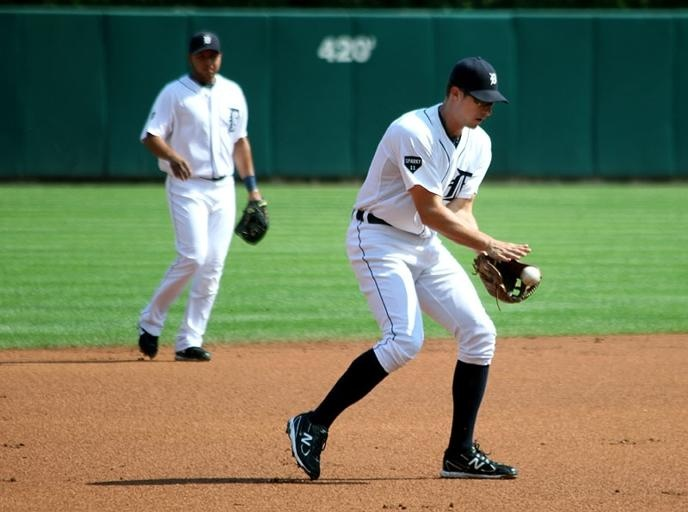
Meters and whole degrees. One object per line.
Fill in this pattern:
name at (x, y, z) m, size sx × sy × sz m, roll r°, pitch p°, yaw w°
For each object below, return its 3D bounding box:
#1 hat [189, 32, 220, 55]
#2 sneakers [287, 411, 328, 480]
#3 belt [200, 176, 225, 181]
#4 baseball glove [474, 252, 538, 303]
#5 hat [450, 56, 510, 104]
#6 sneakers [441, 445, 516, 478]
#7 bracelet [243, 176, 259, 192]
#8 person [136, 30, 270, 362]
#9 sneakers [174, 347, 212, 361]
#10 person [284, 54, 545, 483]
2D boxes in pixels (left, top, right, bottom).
hat at (-1.154, -1.759, 8.501) m, size 0.195 × 0.141 × 0.255 m, roll -1°, pitch 3°, yaw -3°
sneakers at (-0.253, 1.242, 6.725) m, size 0.257 × 0.449 × 0.149 m, roll 2°, pitch 14°, yaw 7°
belt at (-1.074, -0.632, 8.418) m, size 0.215 × 0.040 × 0.032 m, roll -8°, pitch 16°, yaw -33°
baseball glove at (1.083, 0.138, 6.988) m, size 0.378 × 0.181 × 0.323 m, roll 41°, pitch 29°, yaw 19°
hat at (0.860, -1.119, 6.743) m, size 0.388 × 0.216 × 0.270 m, roll 26°, pitch 29°, yaw 21°
sneakers at (0.863, 1.359, 6.912) m, size 0.575 × 0.227 × 0.183 m, roll 1°, pitch -1°, yaw -3°
bracelet at (-0.818, -0.611, 8.900) m, size 0.127 × 0.183 × 0.158 m, roll -6°, pitch 2°, yaw -12°
person at (-1.208, -0.489, 8.562) m, size 0.621 × 2.659 × 1.066 m, roll 7°, pitch 15°, yaw 26°
sneakers at (-1.261, 0.794, 8.562) m, size 0.280 × 0.116 × 0.114 m, roll -1°, pitch 5°, yaw 1°
person at (0.494, 0.065, 6.848) m, size 1.428 × 2.695 × 0.840 m, roll -1°, pitch 14°, yaw -4°
